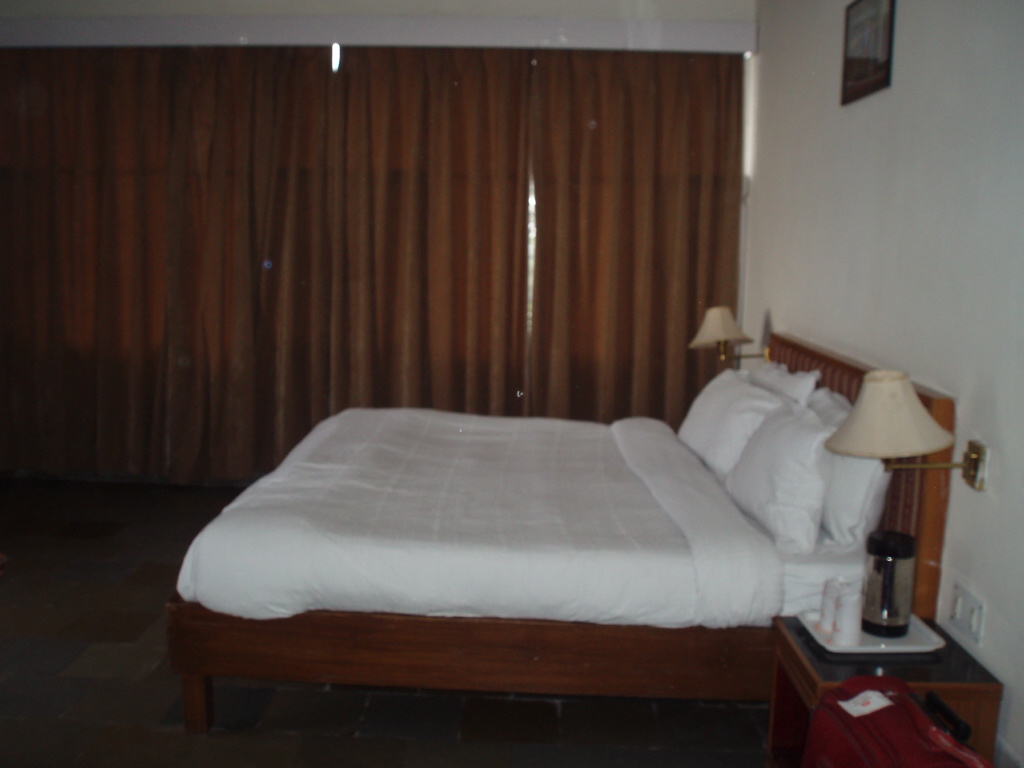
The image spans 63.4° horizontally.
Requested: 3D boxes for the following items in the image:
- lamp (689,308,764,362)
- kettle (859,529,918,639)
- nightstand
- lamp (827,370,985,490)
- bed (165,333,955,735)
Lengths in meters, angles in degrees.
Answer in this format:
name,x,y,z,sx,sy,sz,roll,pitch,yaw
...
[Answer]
name,x,y,z,sx,sy,sz,roll,pitch,yaw
lamp,1.181,-0.247,4.466,0.414,0.288,0.299,-3,-10,-1
kettle,1.241,0.662,2.746,0.161,0.321,0.201,5,7,38
nightstand,1.202,1.126,2.790,0.586,0.629,0.475,0,16,3
lamp,1.247,0.169,2.588,0.456,0.366,0.368,-3,5,-4
bed,-0.114,0.522,3.173,1.642,0.874,1.507,1,6,-2
